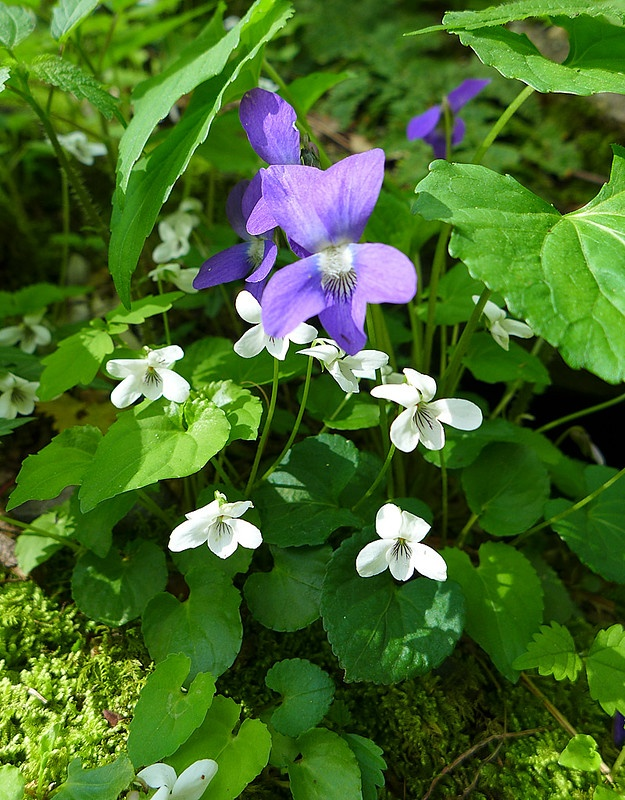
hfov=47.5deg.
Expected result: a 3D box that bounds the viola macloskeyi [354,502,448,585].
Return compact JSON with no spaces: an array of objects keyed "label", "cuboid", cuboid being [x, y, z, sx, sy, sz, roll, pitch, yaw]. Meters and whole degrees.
[{"label":"viola macloskeyi","cuboid":[0.188,0.298,1.472,0.179,0.127,0.123,5,47,7]}]

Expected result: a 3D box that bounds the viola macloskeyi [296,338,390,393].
[{"label":"viola macloskeyi","cuboid":[0.060,-0.090,1.561,0.154,0.056,0.154,-6,9,-29]}]

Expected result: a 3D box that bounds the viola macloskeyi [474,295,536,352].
[{"label":"viola macloskeyi","cuboid":[0.463,-0.182,1.761,0.162,0.039,0.105,46,70,-10]}]

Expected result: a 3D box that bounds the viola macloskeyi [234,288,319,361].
[{"label":"viola macloskeyi","cuboid":[-0.085,-0.152,1.531,0.176,0.061,0.160,-7,66,-25]}]

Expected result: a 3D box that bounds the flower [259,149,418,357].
[{"label":"flower","cuboid":[0.019,-0.306,1.364,0.276,0.289,0.390,-7,46,-4]}]

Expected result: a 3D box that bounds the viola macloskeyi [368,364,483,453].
[{"label":"viola macloskeyi","cuboid":[0.236,0.023,1.457,0.188,0.190,0.084,-25,7,4]}]

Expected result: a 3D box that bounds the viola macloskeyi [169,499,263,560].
[{"label":"viola macloskeyi","cuboid":[-0.205,0.271,1.495,0.171,0.058,0.143,-6,84,-18]}]
